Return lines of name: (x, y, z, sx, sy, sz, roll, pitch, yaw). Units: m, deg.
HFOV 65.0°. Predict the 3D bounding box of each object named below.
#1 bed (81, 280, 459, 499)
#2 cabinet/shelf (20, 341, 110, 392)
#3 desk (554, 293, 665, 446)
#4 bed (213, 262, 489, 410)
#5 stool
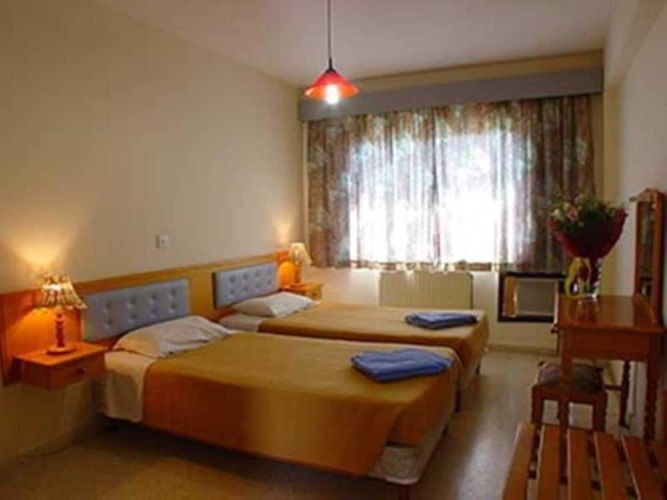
bed: (-0.437, 1.122, 4.124, 2.566, 0.667, 0.902, 4, 13, 21)
cabinet/shelf: (-2.091, 0.879, 3.965, 0.375, 0.182, 0.392, 3, 1, 22)
desk: (1.998, 0.750, 3.916, 0.681, 1.048, 1.842, 1, 2, 24)
bed: (0.482, 0.760, 5.319, 1.872, 0.890, 1.252, 4, 6, 22)
stool: (1.817, 1.218, 4.014, 0.569, 0.542, 0.575, 0, 2, 20)
